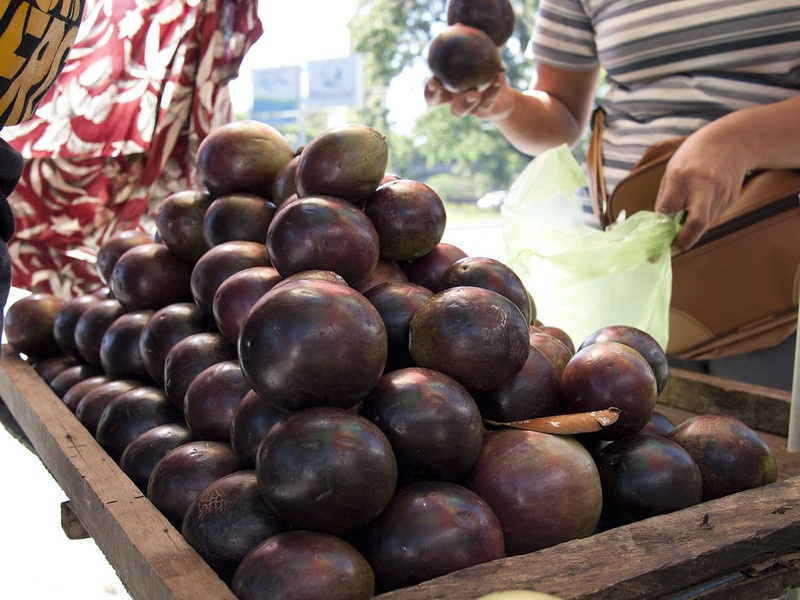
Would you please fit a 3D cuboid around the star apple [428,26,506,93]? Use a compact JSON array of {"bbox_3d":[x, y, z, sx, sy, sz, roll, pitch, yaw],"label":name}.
[{"bbox_3d":[0.177,-0.631,1.958,0.204,0.164,0.152,-2,14,0],"label":"star apple"}]
